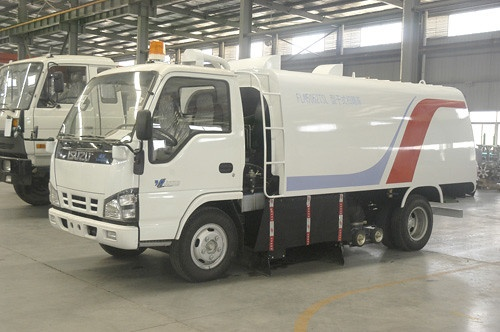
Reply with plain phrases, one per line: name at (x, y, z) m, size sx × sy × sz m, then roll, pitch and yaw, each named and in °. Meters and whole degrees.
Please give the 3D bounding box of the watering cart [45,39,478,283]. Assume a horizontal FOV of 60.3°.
watering cart at (0.564, -0.090, 9.322) m, size 7.959 × 3.610 × 3.771 m, roll 1°, pitch 2°, yaw -29°

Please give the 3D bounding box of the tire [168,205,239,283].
tire at (-0.791, 1.265, 7.148) m, size 0.963 × 0.967 × 0.345 m, roll 38°, pitch -14°, yaw -35°

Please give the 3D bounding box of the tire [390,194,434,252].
tire at (3.474, 1.225, 9.344) m, size 1.116 × 1.135 × 0.378 m, roll -8°, pitch 10°, yaw -35°

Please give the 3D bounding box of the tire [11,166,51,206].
tire at (-6.142, 0.539, 12.115) m, size 1.108 × 1.128 × 0.410 m, roll -1°, pitch 9°, yaw -32°
